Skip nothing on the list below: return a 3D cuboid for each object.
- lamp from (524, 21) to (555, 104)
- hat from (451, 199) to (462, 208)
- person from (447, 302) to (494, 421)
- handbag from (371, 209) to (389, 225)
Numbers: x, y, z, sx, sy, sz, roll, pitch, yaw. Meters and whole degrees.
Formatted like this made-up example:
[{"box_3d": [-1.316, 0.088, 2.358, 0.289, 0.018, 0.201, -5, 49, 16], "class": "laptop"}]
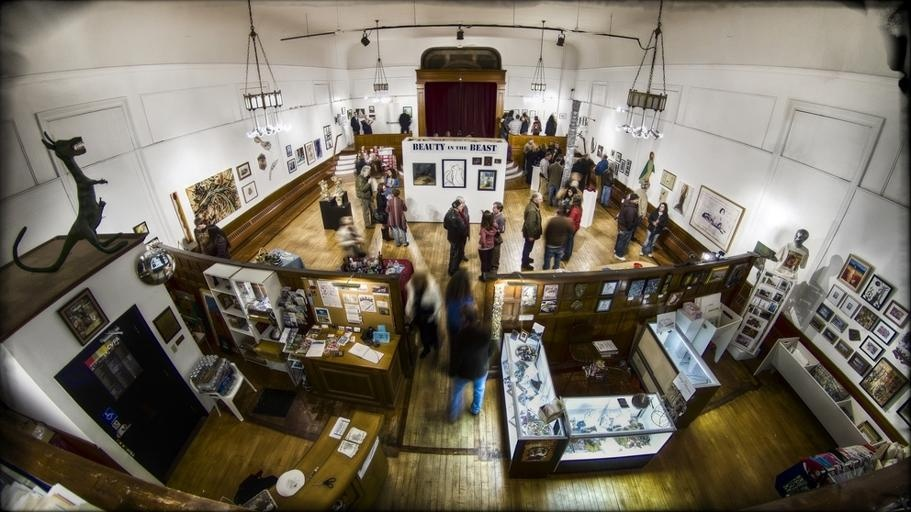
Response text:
[{"box_3d": [3.574, -8.532, 19.944, 0.670, 2.651, 0.670, 17, 27, 34], "class": "lamp"}, {"box_3d": [-0.016, -1.291, 11.560, 0.185, 0.242, 0.189, -5, 62, 3], "class": "hat"}, {"box_3d": [0.263, 2.177, 9.140, 0.877, 2.294, 0.710, -1, 20, -12], "class": "person"}, {"box_3d": [-2.214, -1.159, 13.582, 0.372, 0.466, 0.506, 0, 5, 1], "class": "handbag"}]
